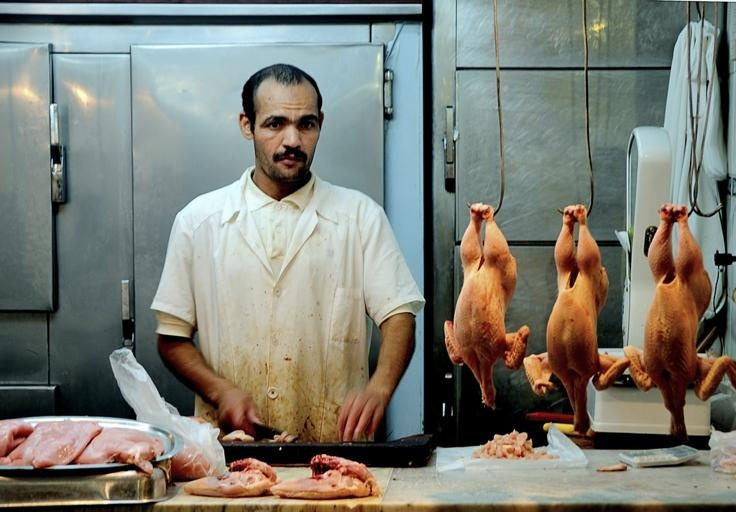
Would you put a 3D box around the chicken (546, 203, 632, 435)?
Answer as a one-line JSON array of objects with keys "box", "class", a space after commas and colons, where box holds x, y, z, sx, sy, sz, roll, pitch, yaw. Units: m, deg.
[{"box": [0.838, 0.252, 3.192, 0.298, 0.894, 0.212, -2, 3, 17], "class": "chicken"}]

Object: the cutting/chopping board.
[{"box": [-0.159, 0.775, 3.373, 0.819, 0.089, 0.498, 0, -8, 4], "class": "cutting/chopping board"}]

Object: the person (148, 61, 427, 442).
[{"box": [-0.404, 0.154, 3.895, 0.998, 1.904, 0.781, 3, 3, -10], "class": "person"}]

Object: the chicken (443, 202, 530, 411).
[{"box": [0.447, 0.182, 3.231, 0.266, 0.846, 0.294, 0, 5, -5], "class": "chicken"}]

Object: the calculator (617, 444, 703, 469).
[{"box": [1.121, 0.772, 3.191, 0.327, 0.048, 0.142, -5, 3, -11], "class": "calculator"}]
